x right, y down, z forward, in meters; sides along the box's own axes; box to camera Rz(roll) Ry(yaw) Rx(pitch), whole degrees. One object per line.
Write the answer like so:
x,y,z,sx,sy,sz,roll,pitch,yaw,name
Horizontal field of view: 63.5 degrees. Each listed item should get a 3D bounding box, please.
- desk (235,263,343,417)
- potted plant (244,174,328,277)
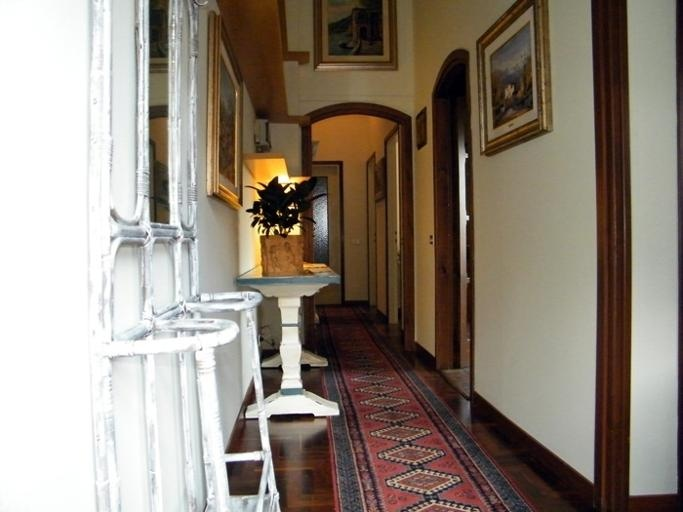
-0.351,0.542,3.835,0.647,0.895,0.982,-1,4,-3,desk
-0.363,-0.191,3.859,0.430,0.682,0.542,-2,-12,6,potted plant
